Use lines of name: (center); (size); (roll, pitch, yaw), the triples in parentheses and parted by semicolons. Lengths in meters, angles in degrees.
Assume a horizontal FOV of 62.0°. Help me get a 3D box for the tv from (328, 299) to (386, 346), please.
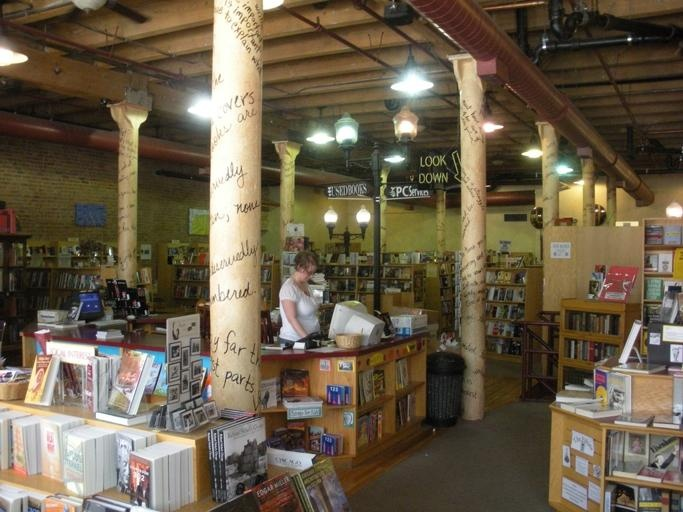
tv: (0.216, 0.773, 6.532); (0.467, 0.423, 0.602); (14, 9, 34)

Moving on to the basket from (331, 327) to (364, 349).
basket: (0.066, 0.928, 6.229); (0.293, 0.164, 0.352); (1, 3, 7)
